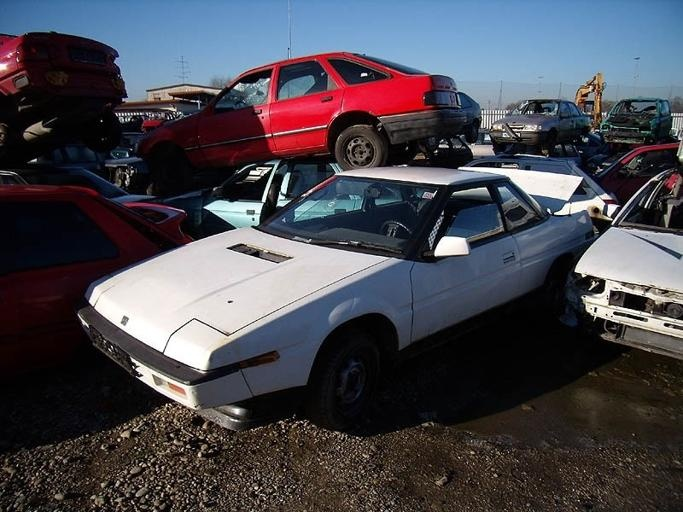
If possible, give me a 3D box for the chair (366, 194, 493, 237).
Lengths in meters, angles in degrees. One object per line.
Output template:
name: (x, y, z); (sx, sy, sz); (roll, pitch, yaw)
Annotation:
chair: (0.975, -0.395, 3.881); (1.059, 0.401, 0.546); (-15, 25, -30)
